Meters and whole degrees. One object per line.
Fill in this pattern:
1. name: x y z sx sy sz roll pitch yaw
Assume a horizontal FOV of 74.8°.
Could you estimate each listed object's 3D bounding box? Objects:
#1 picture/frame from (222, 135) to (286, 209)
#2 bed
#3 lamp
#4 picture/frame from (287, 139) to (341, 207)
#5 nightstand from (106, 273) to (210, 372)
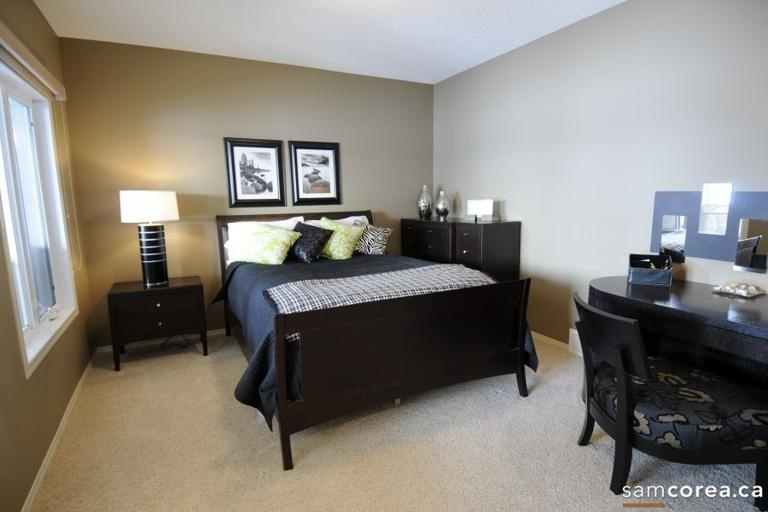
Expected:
1. picture/frame: -1.437 -0.935 5.483 0.744 0.889 0.064 -6 12 -28
2. bed: -0.343 0.373 4.963 2.479 1.441 2.690 -7 16 -28
3. lamp: -2.277 -0.159 4.983 0.549 0.929 0.542 -7 7 -42
4. picture/frame: -0.825 -0.976 5.773 0.730 0.840 0.059 -5 9 -29
5. nightstand: -2.281 0.651 5.111 0.834 0.750 0.598 -5 13 -29
